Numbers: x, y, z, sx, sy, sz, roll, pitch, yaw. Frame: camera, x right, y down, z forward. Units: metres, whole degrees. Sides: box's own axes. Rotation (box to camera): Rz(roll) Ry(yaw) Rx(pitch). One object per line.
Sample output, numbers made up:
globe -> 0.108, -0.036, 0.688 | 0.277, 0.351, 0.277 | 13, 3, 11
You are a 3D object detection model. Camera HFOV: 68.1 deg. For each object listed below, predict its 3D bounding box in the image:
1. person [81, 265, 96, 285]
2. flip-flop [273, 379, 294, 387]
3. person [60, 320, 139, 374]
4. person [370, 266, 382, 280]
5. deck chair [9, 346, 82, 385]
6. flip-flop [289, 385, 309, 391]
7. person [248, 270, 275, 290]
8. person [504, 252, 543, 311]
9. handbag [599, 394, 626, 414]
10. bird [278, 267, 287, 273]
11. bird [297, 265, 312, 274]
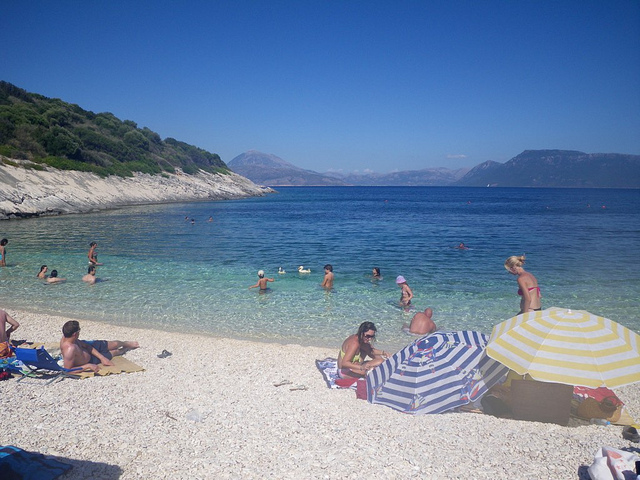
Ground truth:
person -> -12.021, 1.932, 24.953 | 0.832, 0.639, 0.425 | 16, 18, 28
flip-flop -> -0.950, 4.058, 13.432 | 0.687, 0.115, 0.153 | -7, 16, -43
person -> -6.371, 3.015, 14.042 | 1.416, 1.109, 2.075 | 35, 22, 30
person -> 3.119, 1.910, 26.142 | 0.574, 0.669, 0.395 | -7, 36, -47
deck chair -> -7.681, 3.636, 13.532 | 1.144, 0.830, 1.423 | -6, -14, 12
flip-flop -> -0.563, 4.157, 13.192 | 0.480, 0.138, 0.141 | -3, -11, 2
person -> -2.929, 1.966, 23.371 | 1.078, 1.131, 1.821 | -1, 11, -8
person -> 5.856, 1.196, 13.651 | 1.012, 1.642, 1.150 | 5, 13, 20
handbag -> 7.145, 4.113, 11.777 | 0.592, 0.353, 0.375 | -5, 13, -24
bird -> -2.102, 1.814, 27.127 | 0.331, 0.279, 0.219 | 19, 19, 35
bird -> -0.786, 1.752, 27.452 | 0.807, 0.421, 1.452 | 0, 10, -2
